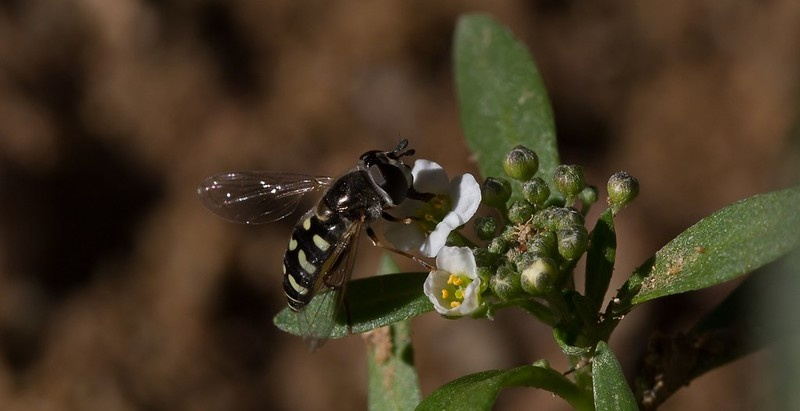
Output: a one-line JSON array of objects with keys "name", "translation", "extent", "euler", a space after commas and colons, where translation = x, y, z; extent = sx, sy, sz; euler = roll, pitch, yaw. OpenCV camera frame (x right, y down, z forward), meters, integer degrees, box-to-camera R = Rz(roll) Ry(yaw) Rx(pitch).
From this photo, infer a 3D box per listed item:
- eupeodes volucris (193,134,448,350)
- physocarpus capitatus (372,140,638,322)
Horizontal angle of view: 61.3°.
[{"name": "eupeodes volucris", "translation": [-0.712, 0.078, 5.963], "extent": [1.914, 1.670, 0.601], "euler": [23, -16, 19]}, {"name": "physocarpus capitatus", "translation": [0.807, 0.183, 5.329], "extent": [1.825, 1.329, 0.651], "euler": [-11, -38, -3]}]
